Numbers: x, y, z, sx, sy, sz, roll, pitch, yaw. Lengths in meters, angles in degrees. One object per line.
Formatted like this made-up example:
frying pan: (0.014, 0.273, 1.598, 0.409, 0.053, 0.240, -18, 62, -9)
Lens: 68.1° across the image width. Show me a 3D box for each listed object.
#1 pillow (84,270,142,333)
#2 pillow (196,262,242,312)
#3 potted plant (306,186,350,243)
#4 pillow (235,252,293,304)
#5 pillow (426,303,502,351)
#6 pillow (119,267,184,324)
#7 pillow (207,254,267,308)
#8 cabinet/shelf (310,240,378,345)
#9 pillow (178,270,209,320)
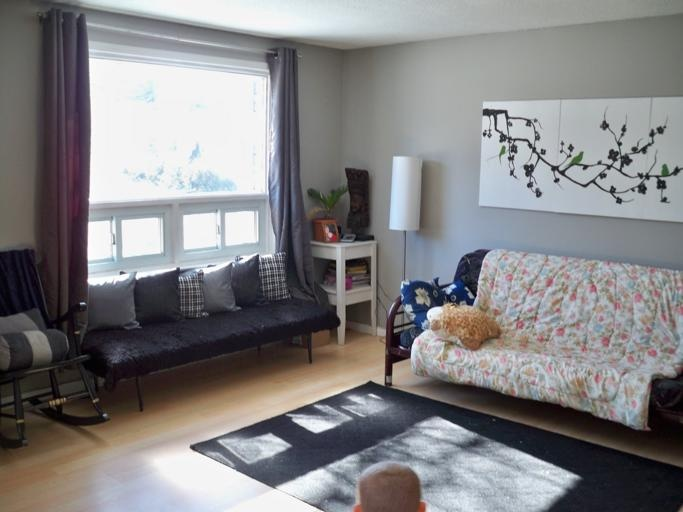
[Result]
pillow: (-1.788, 0.370, 3.945, 0.380, 0.402, 0.143, -6, -10, -9)
pillow: (-1.109, 0.301, 4.524, 0.414, 0.416, 0.149, -11, -3, 28)
potted plant: (-0.205, -0.437, 5.499, 0.506, 0.552, 0.532, 0, 0, -18)
pillow: (-0.655, 0.194, 4.814, 0.440, 0.480, 0.167, -1, -1, -24)
pillow: (0.981, 0.495, 3.922, 0.444, 0.163, 0.526, -23, 16, -37)
pillow: (-1.546, 0.331, 4.095, 0.358, 0.382, 0.132, -10, -1, -21)
pillow: (-0.969, 0.228, 4.714, 0.487, 0.611, 0.230, -8, 40, -5)
cabinet/shelf: (0.186, 0.383, 5.402, 0.653, 0.992, 0.660, -5, -4, 14)
pillow: (-1.275, 0.341, 4.324, 0.345, 0.393, 0.143, -5, -5, -42)
